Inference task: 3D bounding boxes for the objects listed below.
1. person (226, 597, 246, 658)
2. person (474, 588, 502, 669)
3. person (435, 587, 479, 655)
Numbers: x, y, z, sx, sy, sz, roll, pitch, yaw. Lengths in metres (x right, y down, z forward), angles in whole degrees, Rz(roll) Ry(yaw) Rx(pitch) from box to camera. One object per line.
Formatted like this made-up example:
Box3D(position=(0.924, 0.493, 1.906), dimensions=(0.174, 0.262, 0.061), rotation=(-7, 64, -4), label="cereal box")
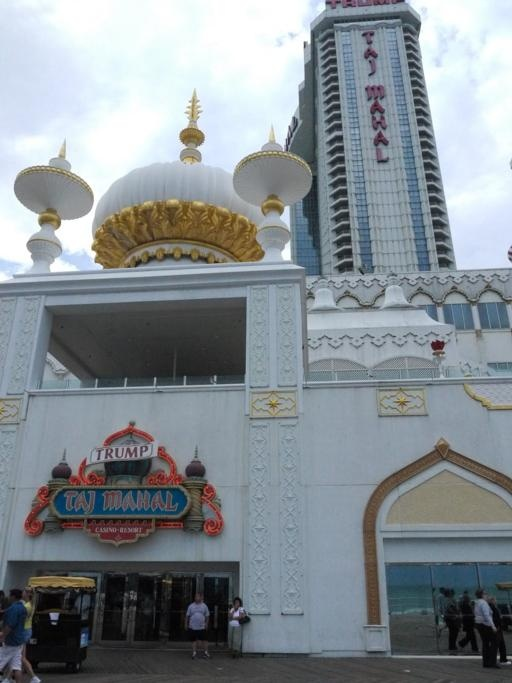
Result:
Box3D(position=(-0.353, 5.445, 11.333), dimensions=(0.348, 0.999, 0.699), rotation=(-1, -23, -1), label="person")
Box3D(position=(3.790, 4.734, 9.798), dimensions=(0.335, 1.155, 0.672), rotation=(-9, -24, 17), label="person")
Box3D(position=(3.897, 5.401, 11.497), dimensions=(0.627, 1.144, 0.224), rotation=(-4, -24, 6), label="person")
